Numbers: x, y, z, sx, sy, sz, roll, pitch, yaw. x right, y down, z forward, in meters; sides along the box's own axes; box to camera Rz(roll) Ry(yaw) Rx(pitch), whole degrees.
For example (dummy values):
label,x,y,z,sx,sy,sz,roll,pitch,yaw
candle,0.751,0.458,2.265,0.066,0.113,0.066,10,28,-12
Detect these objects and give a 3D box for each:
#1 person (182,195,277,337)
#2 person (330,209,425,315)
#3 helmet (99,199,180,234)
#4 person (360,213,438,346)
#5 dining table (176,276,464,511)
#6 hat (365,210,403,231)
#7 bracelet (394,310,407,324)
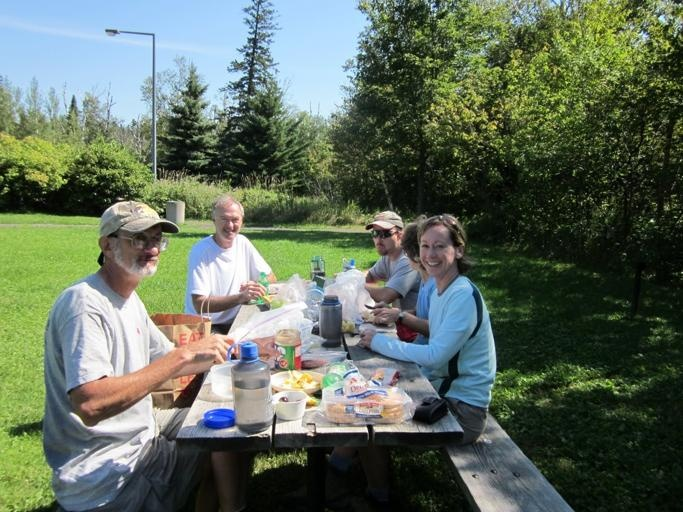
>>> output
label,x,y,z,sx,sy,sz,roll,pitch,yaw
person,-1.285,0.205,5.913,1.085,1.698,1.109,11,11,26
person,0.561,0.105,6.100,0.921,1.747,0.878,5,-8,-31
helmet,-1.552,-0.283,3.955,0.594,0.280,0.429,-2,3,28
person,0.657,0.361,4.944,0.715,1.434,0.569,5,14,9
dining table,-0.081,0.834,3.781,1.152,1.245,1.217,-1,8,-3
hat,0.528,-0.416,5.931,0.225,0.190,0.337,-5,-10,43
bracelet,0.522,0.540,4.651,0.065,0.111,0.096,12,-19,8
